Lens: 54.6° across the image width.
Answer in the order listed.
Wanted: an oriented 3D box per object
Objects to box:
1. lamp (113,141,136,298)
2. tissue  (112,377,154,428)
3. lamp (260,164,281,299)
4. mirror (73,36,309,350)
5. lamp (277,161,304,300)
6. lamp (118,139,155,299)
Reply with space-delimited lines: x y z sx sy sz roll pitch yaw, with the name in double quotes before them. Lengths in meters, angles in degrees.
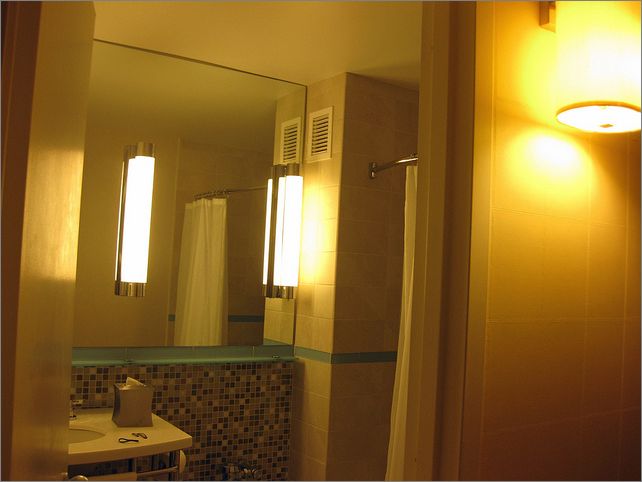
"lamp" -0.894 -0.098 2.939 0.133 0.712 0.053 3 -6 -20
"tissue " -0.768 0.675 2.663 0.225 0.257 0.138 2 -4 -14
"lamp" -0.244 -0.045 3.323 0.081 0.656 0.059 3 1 36
"mirror" -0.666 -0.222 3.041 1.245 1.665 0.019 5 -7 -37
"lamp" -0.164 -0.057 3.352 0.087 0.724 0.104 11 17 27
"lamp" -0.892 -0.100 2.983 0.131 0.761 0.136 3 -9 -24
